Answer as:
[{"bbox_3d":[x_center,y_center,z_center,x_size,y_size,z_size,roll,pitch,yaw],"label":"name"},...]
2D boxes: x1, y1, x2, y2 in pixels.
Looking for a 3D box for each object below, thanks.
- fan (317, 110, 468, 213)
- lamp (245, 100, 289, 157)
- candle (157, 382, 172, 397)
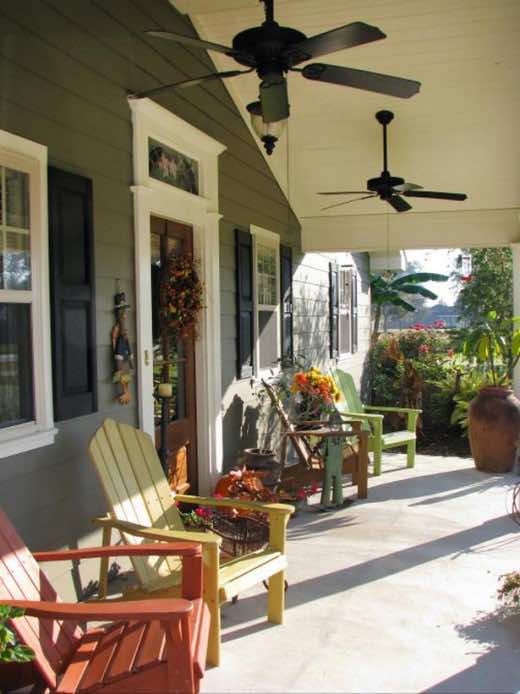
[{"bbox_3d":[0.990,-1.522,4.811,1.156,0.683,1.001,-4,12,-16],"label":"fan"},{"bbox_3d":[0.045,-1.121,3.155,0.205,0.215,0.202,2,3,26],"label":"lamp"},{"bbox_3d":[-0.549,0.249,3.477,0.078,0.054,0.077,6,11,28],"label":"candle"}]
